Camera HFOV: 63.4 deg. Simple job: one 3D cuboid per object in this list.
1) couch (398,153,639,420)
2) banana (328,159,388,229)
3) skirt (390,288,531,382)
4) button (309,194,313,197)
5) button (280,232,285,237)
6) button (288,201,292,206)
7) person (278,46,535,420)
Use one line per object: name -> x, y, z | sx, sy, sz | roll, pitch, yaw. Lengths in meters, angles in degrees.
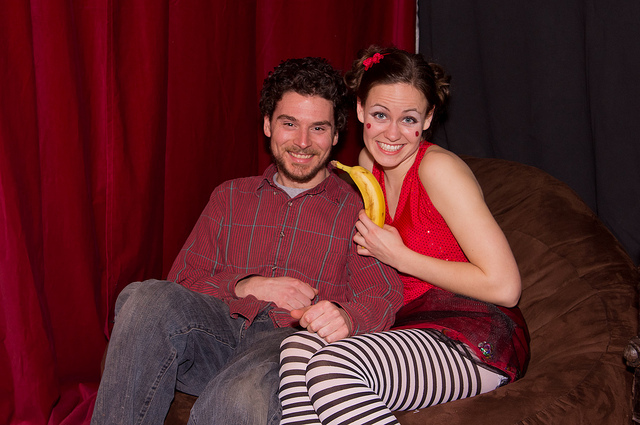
couch -> 1.024, 0.341, 2.354 | 0.828, 1.143, 0.347 | -13, -34, 5
banana -> 0.197, -0.070, 2.372 | 0.225, 0.399, 0.096 | 8, -40, -33
skirt -> 0.592, 0.552, 2.219 | 0.455, 0.356, 0.209 | 33, -40, 2
button -> -0.042, -0.077, 2.445 | 0.012, 0.012, 0.004 | 3, 2, -1
button -> -0.175, 0.105, 2.386 | 0.020, 0.021, 0.009 | 3, 2, -8
button -> -0.143, -0.039, 2.425 | 0.011, 0.019, 0.007 | -3, 4, 0
person -> 0.375, -0.003, 2.171 | 1.066, 1.503, 0.694 | 2, 2, -26
